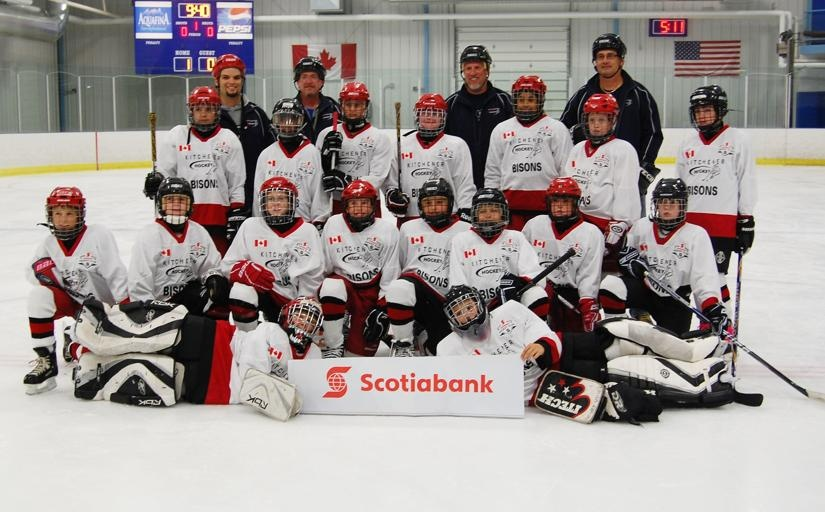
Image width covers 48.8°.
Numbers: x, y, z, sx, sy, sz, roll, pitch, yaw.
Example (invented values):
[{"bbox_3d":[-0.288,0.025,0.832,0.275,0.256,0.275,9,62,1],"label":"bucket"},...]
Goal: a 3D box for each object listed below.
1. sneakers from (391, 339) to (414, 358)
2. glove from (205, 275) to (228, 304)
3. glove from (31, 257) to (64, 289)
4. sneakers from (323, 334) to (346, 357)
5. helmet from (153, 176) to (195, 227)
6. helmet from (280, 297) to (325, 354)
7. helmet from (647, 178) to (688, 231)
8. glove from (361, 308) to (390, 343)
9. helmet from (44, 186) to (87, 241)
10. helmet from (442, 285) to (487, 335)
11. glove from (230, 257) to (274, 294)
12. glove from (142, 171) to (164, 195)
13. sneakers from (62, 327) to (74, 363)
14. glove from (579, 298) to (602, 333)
[{"bbox_3d":[-0.104,0.951,9.531,0.231,0.162,0.160,-1,11,-2],"label":"sneakers"},{"bbox_3d":[-2.046,0.341,9.503,0.183,0.346,0.231,2,12,44],"label":"glove"},{"bbox_3d":[-3.815,0.176,9.418,0.342,0.327,0.140,4,12,23],"label":"glove"},{"bbox_3d":[-0.803,0.932,9.594,0.277,0.365,0.192,1,-3,-1],"label":"sneakers"},{"bbox_3d":[-2.485,-0.540,9.548,0.357,0.516,0.494,3,-20,-22],"label":"helmet"},{"bbox_3d":[-1.121,0.745,9.184,0.389,0.529,0.528,9,-23,-7],"label":"helmet"},{"bbox_3d":[2.681,-0.561,9.713,0.350,0.537,0.526,0,3,22],"label":"helmet"},{"bbox_3d":[-0.387,0.748,9.710,0.237,0.354,0.131,32,16,27],"label":"glove"},{"bbox_3d":[-3.569,-0.467,9.575,0.379,0.567,0.538,0,5,-7],"label":"helmet"},{"bbox_3d":[0.484,0.513,9.001,0.344,0.411,0.461,-30,13,4],"label":"helmet"},{"bbox_3d":[-1.674,0.201,9.482,0.424,0.271,0.144,19,-29,0],"label":"glove"},{"bbox_3d":[-2.943,-0.824,10.314,0.259,0.339,0.341,1,7,1],"label":"glove"},{"bbox_3d":[-3.646,0.941,9.635,0.116,0.375,0.151,-4,15,-15],"label":"sneakers"},{"bbox_3d":[1.875,0.621,9.593,0.183,0.351,0.142,-3,3,7],"label":"glove"}]
